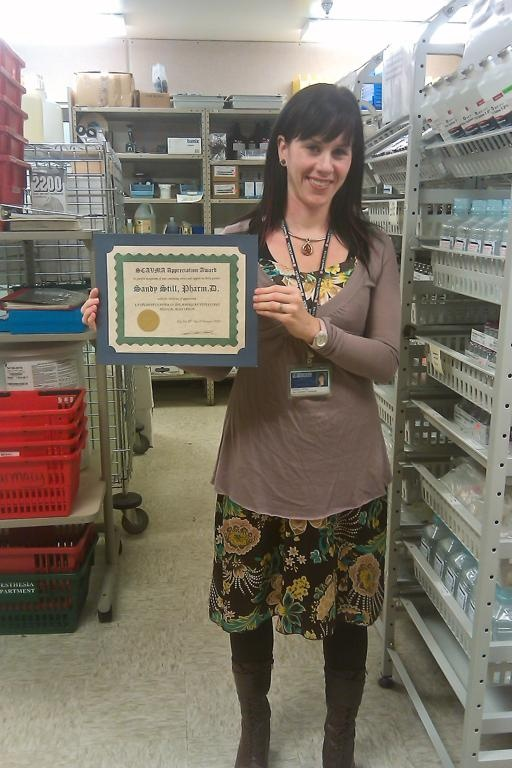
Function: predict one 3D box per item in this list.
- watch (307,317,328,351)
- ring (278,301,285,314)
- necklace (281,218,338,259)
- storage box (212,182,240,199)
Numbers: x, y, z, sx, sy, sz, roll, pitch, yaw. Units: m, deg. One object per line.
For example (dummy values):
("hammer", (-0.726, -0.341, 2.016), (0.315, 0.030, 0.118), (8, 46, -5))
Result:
("watch", (0.099, -0.078, 0.880), (0.015, 0.045, 0.031), (11, 14, 30))
("ring", (0.040, -0.118, 0.854), (0.009, 0.014, 0.005), (0, 5, 22))
("necklace", (0.096, -0.266, 1.004), (0.089, 0.009, 0.097), (3, 52, -3))
("storage box", (-0.245, -1.587, 4.458), (0.210, 0.148, 0.121), (-1, 8, -4))
